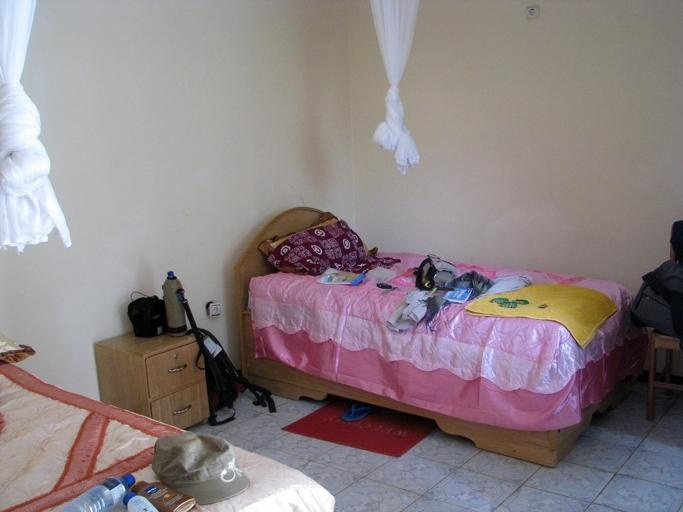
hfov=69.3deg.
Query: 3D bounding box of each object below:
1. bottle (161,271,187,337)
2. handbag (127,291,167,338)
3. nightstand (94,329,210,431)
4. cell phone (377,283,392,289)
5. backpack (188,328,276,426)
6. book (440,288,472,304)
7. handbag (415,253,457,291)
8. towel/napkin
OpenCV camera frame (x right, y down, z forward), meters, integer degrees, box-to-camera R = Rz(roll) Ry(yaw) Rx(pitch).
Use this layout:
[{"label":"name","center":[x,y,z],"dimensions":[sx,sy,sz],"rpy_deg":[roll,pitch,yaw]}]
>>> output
[{"label":"bottle","center":[-1.143,0.307,3.386],"dimensions":[0.133,0.407,0.202],"rpy_deg":[-7,13,-20]},{"label":"handbag","center":[-1.319,0.368,3.514],"dimensions":[0.242,0.354,0.280],"rpy_deg":[5,9,27]},{"label":"nightstand","center":[-1.237,0.733,3.526],"dimensions":[0.663,0.791,0.524],"rpy_deg":[4,14,29]},{"label":"cell phone","center":[0.298,0.204,3.463],"dimensions":[0.073,0.034,0.042],"rpy_deg":[8,8,20]},{"label":"backpack","center":[-0.821,0.856,3.549],"dimensions":[0.237,0.710,0.495],"rpy_deg":[-15,12,24]},{"label":"book","center":[0.728,0.246,3.136],"dimensions":[0.108,0.028,0.114],"rpy_deg":[2,25,29]},{"label":"handbag","center":[0.671,0.129,3.472],"dimensions":[0.211,0.135,0.275],"rpy_deg":[32,-16,-23]},{"label":"towel/napkin","center":[1.248,0.340,3.081],"dimensions":[0.639,0.197,0.864],"rpy_deg":[10,17,44]}]
